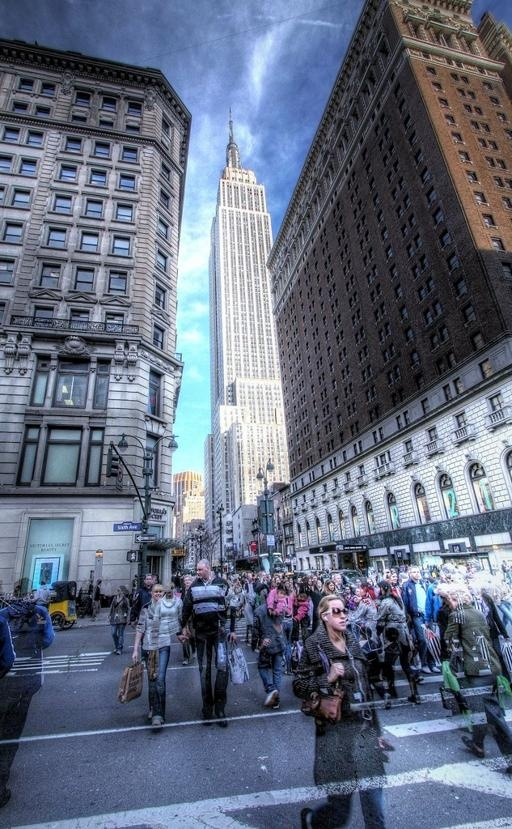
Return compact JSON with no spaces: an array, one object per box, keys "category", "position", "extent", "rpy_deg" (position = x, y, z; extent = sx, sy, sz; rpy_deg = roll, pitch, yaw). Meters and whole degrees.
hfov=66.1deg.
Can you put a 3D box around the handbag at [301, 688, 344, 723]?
[{"category":"handbag","position":[0.521,1.894,3.082],"extent":[0.253,0.195,0.104],"rpy_deg":[1,3,34]}]

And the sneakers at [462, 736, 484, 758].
[{"category":"sneakers","position":[2.644,3.339,4.778],"extent":[0.094,0.105,0.328],"rpy_deg":[-18,-15,3]}]

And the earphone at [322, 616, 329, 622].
[{"category":"earphone","position":[0.611,1.465,3.456],"extent":[0.048,0.010,0.043],"rpy_deg":[-5,14,26]}]

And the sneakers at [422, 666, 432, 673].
[{"category":"sneakers","position":[4.038,4.937,9.239],"extent":[0.111,0.137,0.336],"rpy_deg":[-5,-34,18]}]

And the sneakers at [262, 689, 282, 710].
[{"category":"sneakers","position":[0.286,4.127,6.863],"extent":[0.179,0.198,0.450],"rpy_deg":[3,-51,-9]}]

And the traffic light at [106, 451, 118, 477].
[{"category":"traffic light","position":[-7.498,1.850,20.328],"extent":[0.649,0.384,1.691],"rpy_deg":[-10,20,-14]}]

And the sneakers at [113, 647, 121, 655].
[{"category":"sneakers","position":[-4.296,6.003,12.143],"extent":[0.184,0.108,0.269],"rpy_deg":[7,-24,-15]}]

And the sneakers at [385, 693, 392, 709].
[{"category":"sneakers","position":[2.340,4.188,6.945],"extent":[0.060,0.170,0.124],"rpy_deg":[2,-31,4]}]

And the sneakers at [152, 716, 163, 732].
[{"category":"sneakers","position":[-1.517,3.895,5.990],"extent":[0.087,0.096,0.218],"rpy_deg":[9,-1,-14]}]
